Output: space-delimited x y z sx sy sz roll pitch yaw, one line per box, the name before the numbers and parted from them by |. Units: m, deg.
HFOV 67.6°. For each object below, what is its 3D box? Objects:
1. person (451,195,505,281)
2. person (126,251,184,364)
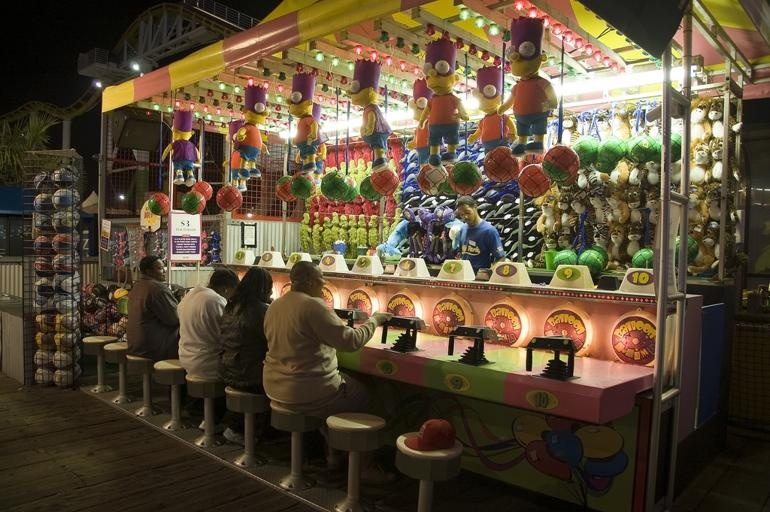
person | 0.973 -0.191 6.071 0.435 0.899 0.489 -8 -6 0
person | -2.504 0.472 6.206 0.488 1.255 0.446 1 1 44
